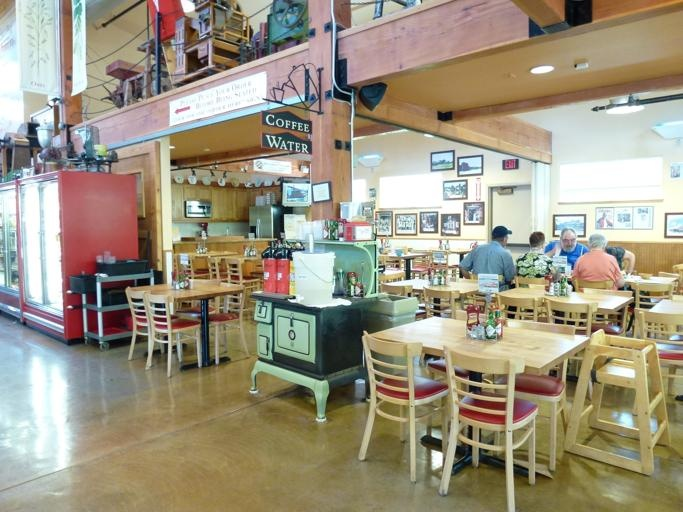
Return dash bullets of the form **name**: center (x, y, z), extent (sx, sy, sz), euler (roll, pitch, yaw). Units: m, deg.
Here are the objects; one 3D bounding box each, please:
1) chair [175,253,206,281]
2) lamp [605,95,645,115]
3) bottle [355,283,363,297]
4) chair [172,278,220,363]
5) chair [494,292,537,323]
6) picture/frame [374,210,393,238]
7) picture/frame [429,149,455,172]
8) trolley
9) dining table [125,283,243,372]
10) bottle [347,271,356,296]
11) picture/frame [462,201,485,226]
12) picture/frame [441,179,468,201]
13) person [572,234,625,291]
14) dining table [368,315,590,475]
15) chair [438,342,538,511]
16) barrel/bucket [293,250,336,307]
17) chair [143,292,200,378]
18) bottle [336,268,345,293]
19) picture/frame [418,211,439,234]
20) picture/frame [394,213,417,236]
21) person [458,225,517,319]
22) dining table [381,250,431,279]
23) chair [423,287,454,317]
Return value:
- **chair**: center (-2.879, 0.209, 10.005), extent (0.457, 0.656, 0.451), euler (7, 12, 32)
- **lamp**: center (4.359, -2.330, 8.253), extent (0.427, 0.280, 0.427), euler (0, 2, 26)
- **bottle**: center (0.188, 0.367, 5.766), extent (0.088, 0.137, 0.024), euler (-1, 3, 1)
- **chair**: center (-1.937, 0.861, 6.982), extent (0.535, 0.684, 1.001), euler (-5, 9, -34)
- **chair**: center (1.952, 0.568, 5.967), extent (0.308, 0.468, 0.340), euler (11, 24, 42)
- **picture/frame**: center (1.146, -0.914, 15.056), extent (0.343, 0.762, 0.603), euler (-2, 3, -30)
- **picture/frame**: center (2.612, -2.457, 13.750), extent (0.651, 0.502, 0.025), euler (5, 4, 39)
- **trolley**: center (-3.310, 0.623, 8.055), extent (0.874, 0.560, 1.077), euler (-2, 20, -29)
- **dining table**: center (-2.068, 0.898, 7.056), extent (1.109, 0.880, 1.296), euler (2, 3, 36)
- **bottle**: center (0.103, 0.309, 5.785), extent (0.089, 0.251, 0.054), euler (-1, 3, -5)
- **picture/frame**: center (3.303, -1.053, 13.277), extent (0.615, 0.594, 0.047), euler (6, 8, 40)
- **picture/frame**: center (2.909, -1.677, 13.573), extent (0.574, 0.457, 0.046), euler (7, 12, 39)
- **person**: center (3.489, 0.230, 7.296), extent (0.660, 1.021, 0.552), euler (-1, 12, 16)
- **dining table**: center (1.255, 0.900, 4.742), extent (1.474, 0.864, 1.483), euler (2, 6, 35)
- **chair**: center (1.247, 1.336, 4.497), extent (0.742, 1.239, 0.908), euler (0, 3, 20)
- **barrel/bucket**: center (-0.357, 0.226, 5.536), extent (0.519, 0.497, 0.529), euler (0, 4, 0)
- **chair**: center (-2.243, 0.935, 6.845), extent (0.635, 0.977, 1.096), euler (-2, 3, -31)
- **bottle**: center (-0.031, 0.298, 5.911), extent (0.120, 0.275, 0.112), euler (-1, 3, 0)
- **picture/frame**: center (2.313, -0.888, 14.119), extent (0.570, 0.584, 0.043), euler (10, 17, 37)
- **picture/frame**: center (1.765, -0.871, 14.591), extent (0.623, 0.515, 0.047), euler (9, 13, 43)
- **person**: center (2.105, 0.097, 7.514), extent (0.815, 1.004, 0.645), euler (4, 12, 10)
- **dining table**: center (1.200, 0.087, 10.731), extent (0.782, 0.710, 0.774), euler (0, 3, 20)
- **chair**: center (1.244, 0.581, 6.860), extent (0.372, 0.447, 0.316), euler (9, 14, 39)
